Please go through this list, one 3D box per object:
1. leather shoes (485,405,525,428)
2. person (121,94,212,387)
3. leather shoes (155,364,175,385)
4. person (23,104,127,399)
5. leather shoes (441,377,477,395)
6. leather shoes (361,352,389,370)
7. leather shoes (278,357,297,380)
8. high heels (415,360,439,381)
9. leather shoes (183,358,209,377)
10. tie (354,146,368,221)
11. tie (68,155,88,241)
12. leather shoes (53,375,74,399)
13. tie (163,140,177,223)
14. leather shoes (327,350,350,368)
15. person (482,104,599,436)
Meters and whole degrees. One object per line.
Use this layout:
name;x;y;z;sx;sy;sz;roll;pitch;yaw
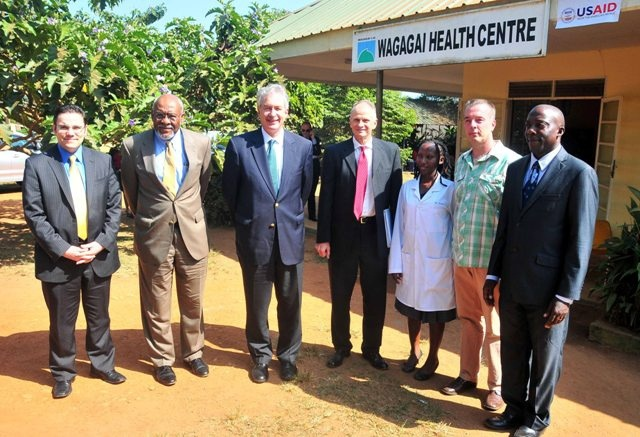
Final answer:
leather shoes;1.662;1.788;4.445;0.368;0.128;0.150;-1;2;-23
person;-1.452;0.370;4.866;0.845;2.426;0.625;-4;16;-21
leather shoes;-1.541;1.553;4.917;0.108;0.119;0.287;0;5;-37
person;-2.275;0.294;4.659;0.812;2.638;0.624;-7;17;-30
leather shoes;1.368;1.659;4.930;0.396;0.161;0.142;0;9;-23
leather shoes;0.591;1.500;5.281;0.127;0.119;0.288;-25;26;-36
leather shoes;-0.328;1.535;5.016;0.118;0.101;0.256;-1;3;-13
high heels;1.117;1.561;5.100;0.117;0.085;0.324;5;28;43
leather shoes;-1.300;1.521;5.099;0.127;0.141;0.335;-6;11;-41
tie;0.410;-0.358;4.925;0.119;0.707;0.198;3;15;5
tie;-2.263;-0.196;4.613;0.130;0.776;0.201;-6;16;-26
leather shoes;-2.438;1.596;4.673;0.097;0.110;0.277;2;3;-16
tie;-1.440;-0.462;4.712;0.127;0.531;0.123;1;15;-3
leather shoes;0.189;1.477;5.242;0.107;0.117;0.282;5;10;41
person;1.793;0.490;4.185;0.772;2.827;0.613;12;18;35
